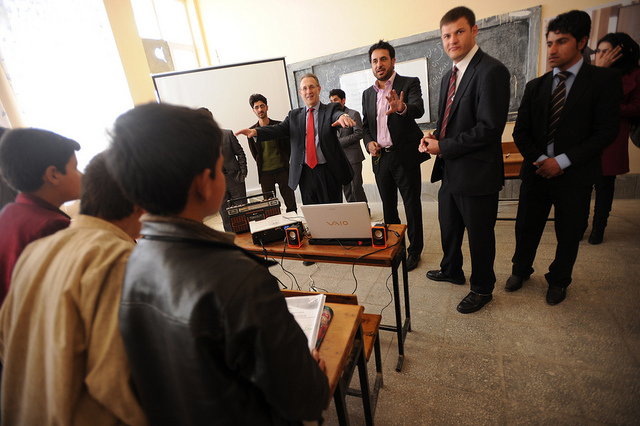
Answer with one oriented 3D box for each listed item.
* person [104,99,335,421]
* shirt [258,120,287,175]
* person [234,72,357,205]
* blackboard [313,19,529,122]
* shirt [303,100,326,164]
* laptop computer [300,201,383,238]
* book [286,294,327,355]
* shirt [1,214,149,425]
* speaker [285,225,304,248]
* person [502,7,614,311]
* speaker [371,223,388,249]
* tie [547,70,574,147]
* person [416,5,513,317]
[{"bbox_3d":[-0.573,0.267,2.199,0.984,1.613,0.492,-8,18,5],"label":"person"},{"bbox_3d":[-0.631,-0.776,5.386,0.313,0.625,0.081,-12,18,-9],"label":"shirt"},{"bbox_3d":[-0.134,-0.450,4.266,1.070,1.734,0.931,-7,6,-2],"label":"person"},{"bbox_3d":[1.084,-1.480,4.522,2.787,1.082,0.048,10,19,19],"label":"blackboard"},{"bbox_3d":[-0.091,-0.757,4.307,0.245,0.574,0.198,-9,18,3],"label":"shirt"},{"bbox_3d":[0.147,0.047,3.263,0.601,0.314,0.380,0,21,21],"label":"laptop computer"},{"bbox_3d":[-0.087,0.631,2.680,0.246,0.062,0.264,2,42,18],"label":"book"},{"bbox_3d":[-1.366,0.621,2.379,0.827,1.063,0.471,-10,18,-1],"label":"shirt"},{"bbox_3d":[-0.190,0.178,3.335,0.109,0.193,0.160,0,23,8],"label":"speaker"},{"bbox_3d":[1.848,-0.373,3.428,0.687,2.168,0.579,3,22,34],"label":"person"},{"bbox_3d":[0.427,0.174,3.191,0.106,0.150,0.119,-5,19,15],"label":"speaker"},{"bbox_3d":[1.830,-0.760,3.412,0.127,0.440,0.101,-1,19,23],"label":"tie"},{"bbox_3d":[1.136,-0.387,3.529,0.596,2.309,0.566,-23,22,-36],"label":"person"}]
